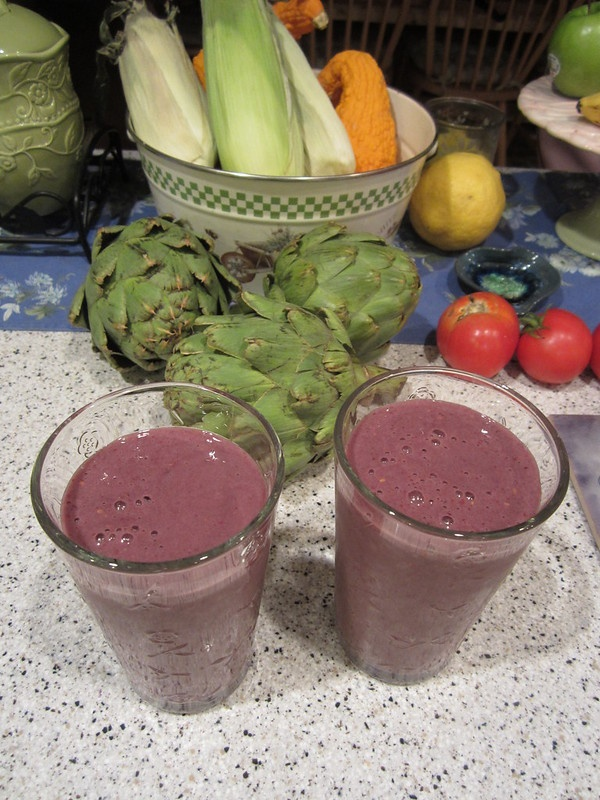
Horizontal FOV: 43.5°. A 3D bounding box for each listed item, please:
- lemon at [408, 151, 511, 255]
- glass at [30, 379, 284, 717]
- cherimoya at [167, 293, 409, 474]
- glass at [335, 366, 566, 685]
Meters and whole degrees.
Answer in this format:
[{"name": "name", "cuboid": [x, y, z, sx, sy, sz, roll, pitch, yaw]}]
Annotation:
[{"name": "lemon", "cuboid": [0.232, -0.289, 1.219, 0.144, 0.163, 0.151, -6, 69, 41]}, {"name": "glass", "cuboid": [-0.109, 0.122, 0.591, 0.196, 0.241, 0.180, 17, 51, 14]}, {"name": "cherimoya", "cuboid": [-0.025, -0.015, 0.772, 0.253, 0.131, 0.142, 5, 15, -14]}, {"name": "glass", "cuboid": [0.104, 0.127, 0.642, 0.179, 0.233, 0.170, 20, 37, 20]}]
